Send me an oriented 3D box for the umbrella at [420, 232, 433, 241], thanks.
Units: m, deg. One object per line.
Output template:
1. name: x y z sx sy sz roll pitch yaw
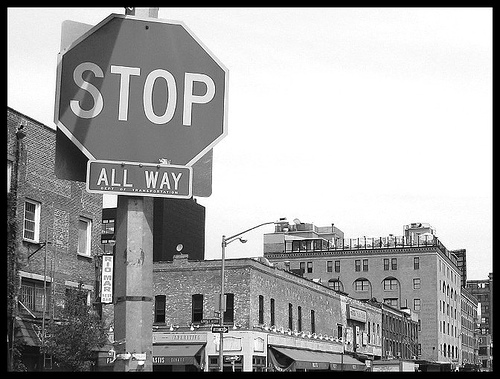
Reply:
1. umbrella: 20.527 5.627 130.632 1.249 1.192 1.968 5 -16 -16
